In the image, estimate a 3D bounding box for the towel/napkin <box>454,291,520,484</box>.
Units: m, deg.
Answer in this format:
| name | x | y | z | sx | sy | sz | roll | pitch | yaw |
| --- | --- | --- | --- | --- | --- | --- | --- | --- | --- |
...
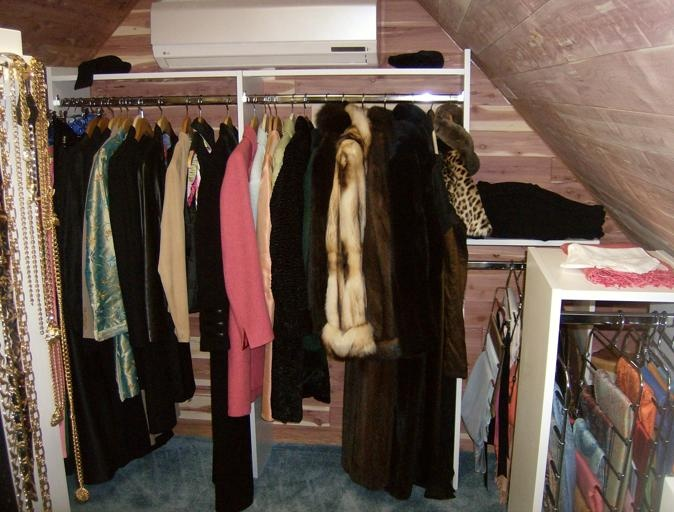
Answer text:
| name | x | y | z | sx | sy | sz | roll | pitch | yaw |
| --- | --- | --- | --- | --- | --- | --- | --- | --- | --- |
| towel/napkin | 0.618 | 0.582 | 2.377 | 0.185 | 0.920 | 0.401 | 1 | 11 | 8 |
